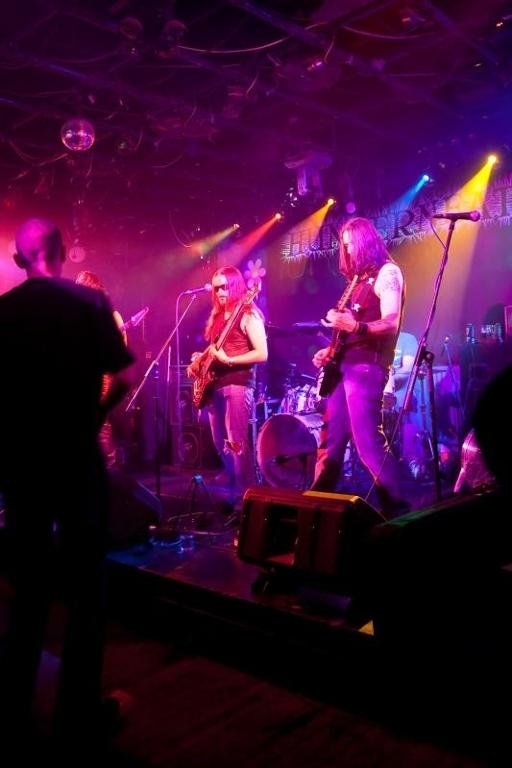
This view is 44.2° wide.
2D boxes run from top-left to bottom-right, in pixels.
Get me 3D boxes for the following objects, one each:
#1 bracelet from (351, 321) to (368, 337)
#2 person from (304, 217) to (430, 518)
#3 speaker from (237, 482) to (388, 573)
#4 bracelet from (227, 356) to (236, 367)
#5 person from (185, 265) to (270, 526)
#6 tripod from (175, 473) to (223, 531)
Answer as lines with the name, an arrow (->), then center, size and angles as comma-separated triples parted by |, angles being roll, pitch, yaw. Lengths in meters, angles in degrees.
bracelet -> 0.511, -0.267, 3.096 | 0.061, 0.058, 0.072 | -2, 13, 15
person -> 0.515, -0.123, 3.258 | 0.508, 1.504, 0.777 | -3, 7, 14
speaker -> 0.190, 0.603, 2.536 | 0.469, 0.309, 0.343 | 3, -8, 27
bracelet -> -0.154, -0.136, 3.919 | 0.046, 0.047, 0.047 | 4, -6, 3
person -> -0.178, -0.050, 4.146 | 0.517, 1.430, 0.734 | -5, 7, -6
tripod -> -0.407, 0.808, 4.439 | 0.348, 0.406, 0.359 | -1, -1, 10
